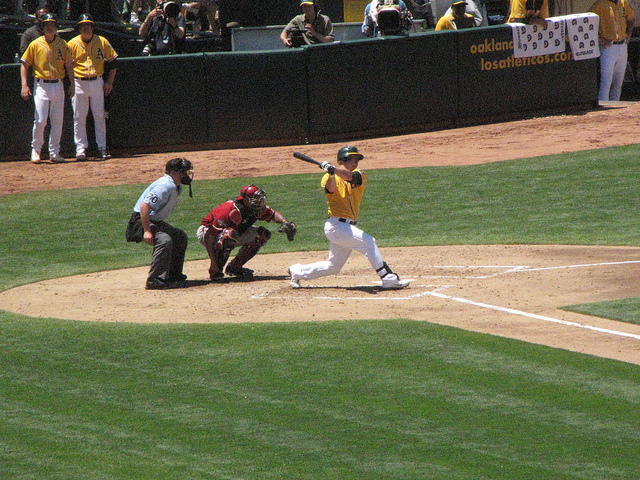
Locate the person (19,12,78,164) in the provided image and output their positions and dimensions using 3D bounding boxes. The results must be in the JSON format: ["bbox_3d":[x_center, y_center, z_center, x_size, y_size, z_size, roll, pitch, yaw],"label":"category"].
[{"bbox_3d":[-5.137,-2.779,29.452,1.086,2.802,1.342,-5,8,-9],"label":"person"}]

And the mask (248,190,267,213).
[{"bbox_3d":[-0.958,-0.551,23.124,0.246,0.336,0.160,-3,8,5],"label":"mask"}]

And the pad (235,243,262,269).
[{"bbox_3d":[-1.106,0.226,23.596,0.407,0.374,0.381,-3,7,-1],"label":"pad"}]

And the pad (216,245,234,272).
[{"bbox_3d":[-1.442,0.275,23.292,0.251,0.425,0.391,-5,7,-15],"label":"pad"}]

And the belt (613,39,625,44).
[{"bbox_3d":[6.014,-3.909,31.525,0.256,0.073,0.068,-6,7,-29],"label":"belt"}]

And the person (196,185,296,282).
[{"bbox_3d":[-1.135,-0.092,23.351,1.599,1.325,1.045,2,10,0],"label":"person"}]

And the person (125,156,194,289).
[{"bbox_3d":[-2.350,-0.249,23.209,1.034,1.845,0.982,-8,9,-30],"label":"person"}]

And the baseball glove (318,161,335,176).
[{"bbox_3d":[0.102,-0.995,22.132,0.222,0.068,0.159,22,-15,-31],"label":"baseball glove"}]

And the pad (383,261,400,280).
[{"bbox_3d":[1.001,0.411,22.560,0.072,0.186,0.141,-42,19,-8],"label":"pad"}]

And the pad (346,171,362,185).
[{"bbox_3d":[0.483,-0.859,22.287,0.206,0.082,0.154,16,18,42],"label":"pad"}]

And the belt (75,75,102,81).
[{"bbox_3d":[-4.288,-2.955,29.237,0.350,0.078,0.070,-6,8,-32],"label":"belt"}]

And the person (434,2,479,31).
[{"bbox_3d":[2.835,-4.593,32.777,0.826,0.558,2.638,-2,6,5],"label":"person"}]

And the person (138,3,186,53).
[{"bbox_3d":[-3.166,-4.103,31.039,0.849,0.927,1.046,-4,7,-6],"label":"person"}]

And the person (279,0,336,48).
[{"bbox_3d":[-0.237,-4.265,31.451,0.811,0.891,0.861,-9,9,-38],"label":"person"}]

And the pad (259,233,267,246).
[{"bbox_3d":[-0.870,-0.002,23.447,0.129,0.133,0.113,0,4,2],"label":"pad"}]
